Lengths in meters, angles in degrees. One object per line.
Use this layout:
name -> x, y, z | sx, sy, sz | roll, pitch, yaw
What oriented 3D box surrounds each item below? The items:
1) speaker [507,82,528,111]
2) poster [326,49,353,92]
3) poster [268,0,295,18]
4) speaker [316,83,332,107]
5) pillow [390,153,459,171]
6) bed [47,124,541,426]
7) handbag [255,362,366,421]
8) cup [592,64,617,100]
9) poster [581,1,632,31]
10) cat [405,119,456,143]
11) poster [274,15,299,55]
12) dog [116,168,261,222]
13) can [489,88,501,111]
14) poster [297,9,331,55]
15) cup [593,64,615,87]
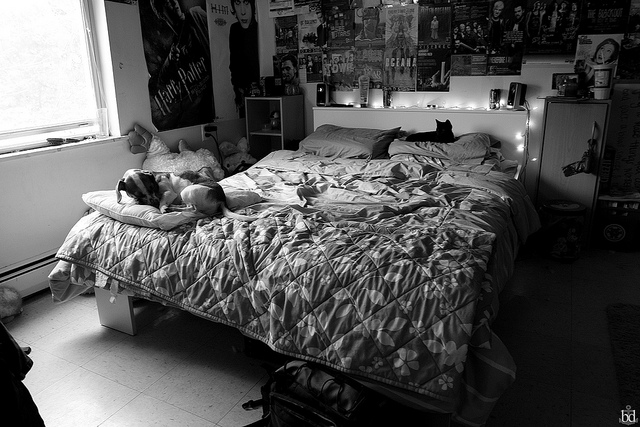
speaker -> 1.992, -1.182, 4.239 | 0.178, 0.261, 0.089 | -1, 19, 0
poster -> 0.235, -1.695, 4.914 | 0.433, 0.574, 0.026 | 10, 26, 26
poster -> -0.461, -2.458, 5.034 | 0.362, 0.185, 0.043 | 10, 22, 32
speaker -> 0.046, -1.413, 5.003 | 0.190, 0.269, 0.157 | 0, 19, 2
pillow -> 0.994, -0.518, 4.056 | 0.410, 0.072, 0.250 | 14, 19, 24
bed -> 0.091, 0.289, 3.463 | 2.905, 1.137, 2.426 | 8, 20, 26
handbag -> -0.019, 0.996, 2.265 | 0.535, 0.249, 0.236 | 7, 20, 24
cup -> 2.552, -1.204, 3.835 | 0.138, 0.302, 0.227 | 8, 21, 25
poster -> 2.641, -1.835, 3.880 | 0.305, 0.295, 0.029 | 3, 17, 21
cat -> 1.173, -0.868, 4.407 | 0.561, 0.190, 0.269 | -11, -18, 34
poster -> -0.394, -2.181, 5.075 | 0.439, 0.565, 0.061 | 9, 22, 25
dog -> -0.847, -0.159, 3.246 | 1.321, 0.504, 0.421 | 2, 3, -4
can -> 1.779, -1.172, 4.306 | 0.111, 0.219, 0.109 | -1, 19, 0
poster -> -0.082, -2.129, 4.948 | 0.485, 0.442, 0.111 | 4, 14, 28
cup -> 2.552, -1.254, 3.826 | 0.135, 0.191, 0.119 | 5, 20, 17
